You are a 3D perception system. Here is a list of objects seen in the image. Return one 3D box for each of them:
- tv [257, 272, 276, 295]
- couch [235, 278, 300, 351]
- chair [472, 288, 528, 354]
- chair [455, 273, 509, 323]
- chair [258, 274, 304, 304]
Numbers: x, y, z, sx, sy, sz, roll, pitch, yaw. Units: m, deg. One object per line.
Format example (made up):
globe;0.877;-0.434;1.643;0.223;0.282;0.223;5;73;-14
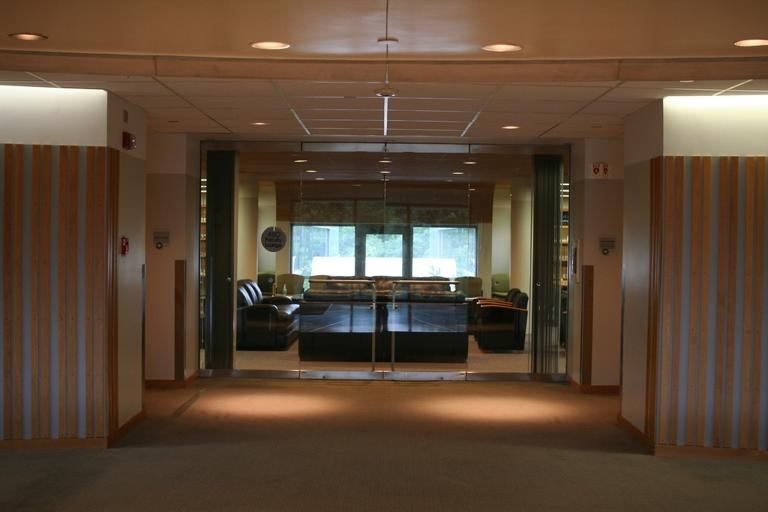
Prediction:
tv;-2.157;0.526;10.851;0.405;0.378;0.380;0;4;-3
couch;-2.351;1.107;11.587;1.310;1.121;1.561;2;4;-9
chair;2.389;1.239;11.586;1.203;1.341;1.242;-1;-1;6
chair;1.720;0.803;10.993;0.973;0.985;0.791;1;-1;-12
chair;-1.909;0.617;10.888;0.684;0.671;0.638;1;-6;-6
